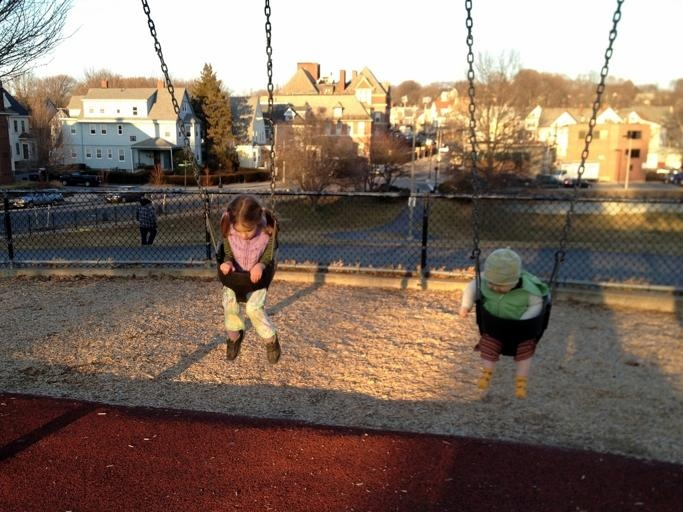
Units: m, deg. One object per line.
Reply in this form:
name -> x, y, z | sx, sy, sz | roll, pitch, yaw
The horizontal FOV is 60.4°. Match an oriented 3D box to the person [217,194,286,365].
person -> -0.903, 0.291, 5.651 | 0.588, 1.727, 0.454 | -2, 15, -6

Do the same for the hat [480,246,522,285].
hat -> 1.399, 0.077, 5.117 | 0.292, 0.300, 0.319 | 14, 44, 20

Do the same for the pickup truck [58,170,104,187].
pickup truck -> -20.226, -5.893, 45.747 | 3.305, 1.204, 1.619 | 4, 12, -1

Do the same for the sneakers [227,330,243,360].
sneakers -> -1.110, 0.917, 5.954 | 0.122, 0.368, 0.143 | 7, -3, 24

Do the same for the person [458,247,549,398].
person -> 1.465, 0.637, 5.309 | 0.763, 1.418, 0.431 | 5, 15, 18

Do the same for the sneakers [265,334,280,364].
sneakers -> -0.689, 0.957, 5.902 | 0.114, 0.313, 0.129 | -1, 3, 24
